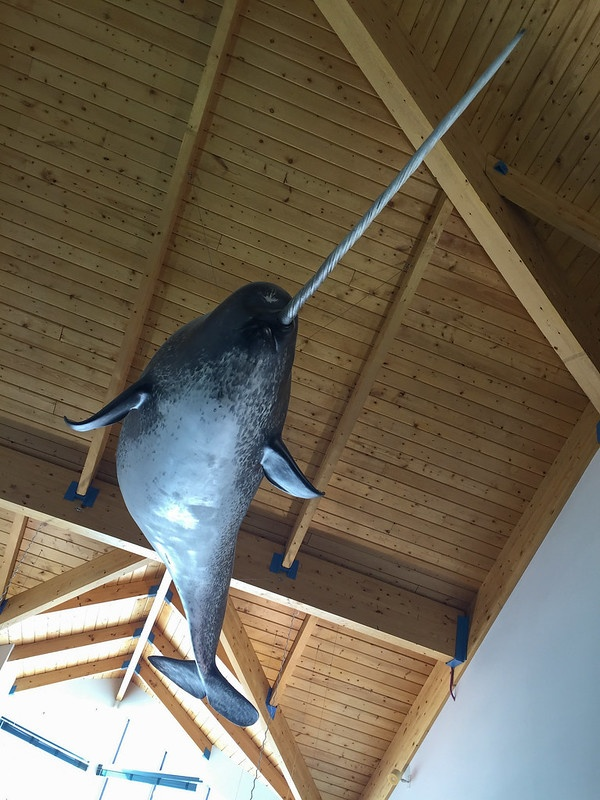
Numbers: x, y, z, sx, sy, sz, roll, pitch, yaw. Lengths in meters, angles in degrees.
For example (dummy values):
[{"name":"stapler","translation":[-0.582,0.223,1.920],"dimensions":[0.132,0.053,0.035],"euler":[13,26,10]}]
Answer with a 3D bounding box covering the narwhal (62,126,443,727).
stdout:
[{"name":"narwhal","translation":[-0.433,0.174,4.367],"dimensions":[1.286,1.161,2.571],"euler":[16,-66,-30]}]
